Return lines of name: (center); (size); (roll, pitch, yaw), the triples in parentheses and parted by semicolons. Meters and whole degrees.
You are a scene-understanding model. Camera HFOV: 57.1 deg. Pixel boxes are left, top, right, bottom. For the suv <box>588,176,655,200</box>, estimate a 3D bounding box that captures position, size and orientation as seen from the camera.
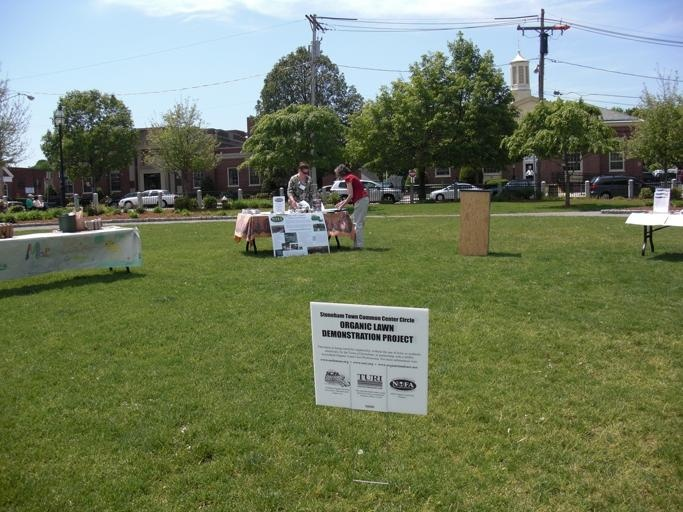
suv: (15.762, -3.599, 35.391); (3.284, 1.380, 1.688); (-2, 8, 11)
